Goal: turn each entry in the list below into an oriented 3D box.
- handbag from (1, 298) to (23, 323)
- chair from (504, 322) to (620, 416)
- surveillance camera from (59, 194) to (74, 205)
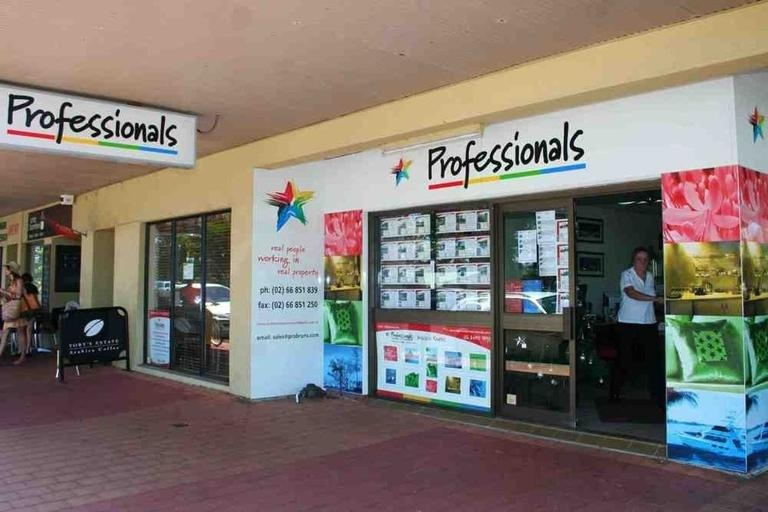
[{"bbox_3d":[-8.429,1.239,12.206,0.653,0.564,0.239,-5,-7,37],"label":"handbag"},{"bbox_3d":[2.555,1.645,7.792,1.520,0.995,0.819,1,1,43],"label":"chair"},{"bbox_3d":[-7.929,-1.417,13.494,0.347,0.239,0.335,0,0,-41],"label":"surveillance camera"}]
